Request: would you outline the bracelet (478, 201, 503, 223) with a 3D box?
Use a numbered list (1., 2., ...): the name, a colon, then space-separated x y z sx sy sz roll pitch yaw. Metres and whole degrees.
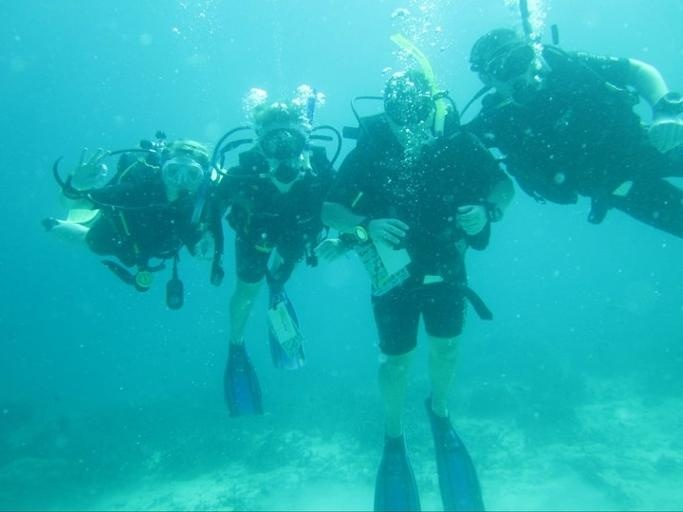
1. bracelet: 2.467 -0.745 11.411 0.369 0.134 0.285 26 40 24
